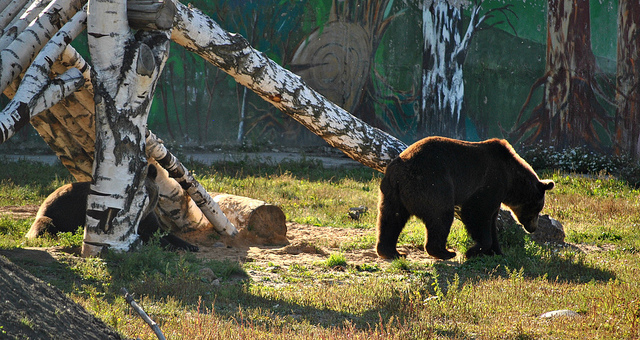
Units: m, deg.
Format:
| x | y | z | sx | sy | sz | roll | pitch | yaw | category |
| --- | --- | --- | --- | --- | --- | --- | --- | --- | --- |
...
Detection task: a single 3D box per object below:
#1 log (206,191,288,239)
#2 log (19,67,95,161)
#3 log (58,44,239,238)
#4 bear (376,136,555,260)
| x | y | z | sx | sy | sz | roll | pitch | yaw | category |
| --- | --- | --- | --- | --- | --- | --- | --- | --- | --- |
| -2.982 | 1.401 | 46.143 | 3.965 | 1.424 | 1.245 | 22 | 7 | 39 | log |
| -9.209 | -1.899 | 44.705 | 1.894 | 3.640 | 1.994 | 2 | 1 | -21 | log |
| -6.551 | -1.080 | 45.935 | 1.241 | 9.332 | 1.225 | -41 | 20 | -8 | log |
| 5.058 | 0.626 | 46.169 | 7.053 | 5.509 | 3.250 | -2 | 4 | -16 | bear |
